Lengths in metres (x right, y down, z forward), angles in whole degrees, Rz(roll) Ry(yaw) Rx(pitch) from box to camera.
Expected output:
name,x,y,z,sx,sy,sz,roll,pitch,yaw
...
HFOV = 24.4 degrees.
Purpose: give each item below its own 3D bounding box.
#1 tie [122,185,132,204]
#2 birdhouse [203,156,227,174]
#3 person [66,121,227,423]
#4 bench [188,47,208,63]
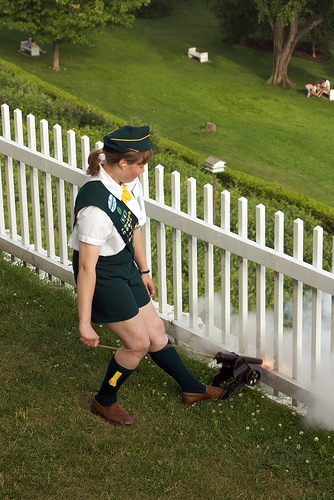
name,x,y,z,sx,sy,sz,roll,pitch,yaw
tie,-0.227,-0.297,4.240,0.024,0.079,0.063,3,15,32
birdhouse,0.723,-1.270,11.517,0.291,0.217,0.309,-10,22,-26
person,-0.237,0.143,4.431,0.667,1.729,1.101,17,20,29
bench,1.436,-8.644,34.331,0.669,0.497,1.227,-6,22,-34
